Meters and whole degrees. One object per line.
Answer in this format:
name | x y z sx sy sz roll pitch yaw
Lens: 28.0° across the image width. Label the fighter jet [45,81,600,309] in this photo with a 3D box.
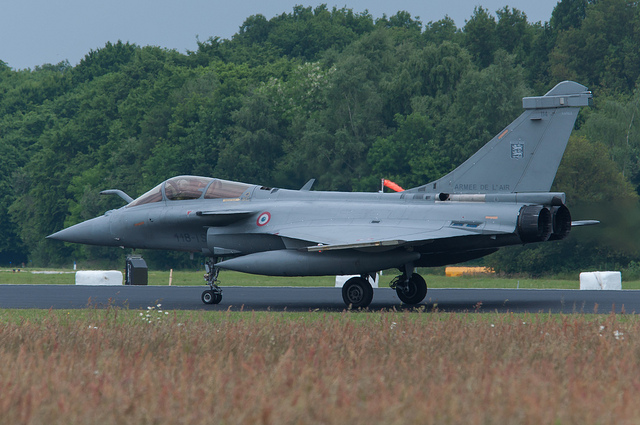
fighter jet | 1.493 -1.333 90.577 39.036 12.910 10.746 -1 -9 17
